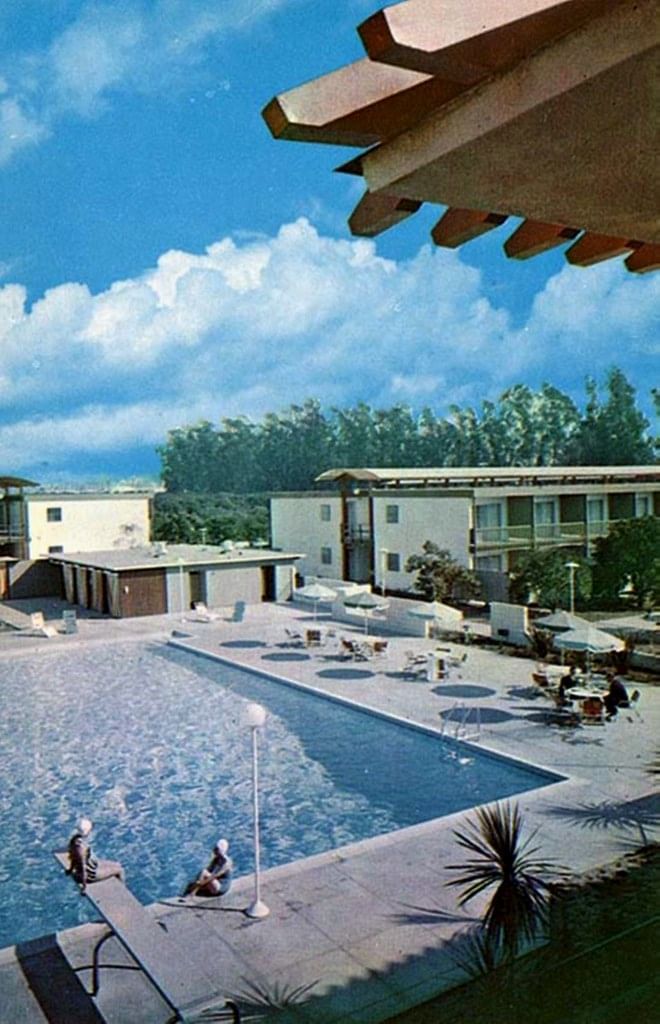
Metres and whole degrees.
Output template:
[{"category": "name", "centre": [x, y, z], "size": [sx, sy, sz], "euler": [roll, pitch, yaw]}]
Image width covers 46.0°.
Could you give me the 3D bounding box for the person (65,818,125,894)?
[{"category": "person", "centre": [-3.321, 4.791, 10.803], "size": [0.718, 0.944, 0.829], "euler": [-4, 5, -21]}]

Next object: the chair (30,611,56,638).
[{"category": "chair", "centre": [-11.990, 4.767, 32.263], "size": [0.733, 0.821, 2.086], "euler": [-5, 6, -34]}]

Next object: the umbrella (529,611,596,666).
[{"category": "umbrella", "centre": [6.794, 3.856, 22.949], "size": [1.472, 1.251, 1.504], "euler": [-9, 19, -17]}]

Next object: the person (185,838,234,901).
[{"category": "person", "centre": [-1.687, 4.845, 10.537], "size": [0.606, 0.730, 0.287], "euler": [-3, 4, -5]}]

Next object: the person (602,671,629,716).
[{"category": "person", "centre": [6.895, 4.524, 18.690], "size": [0.573, 0.872, 0.908], "euler": [-1, 5, 20]}]
